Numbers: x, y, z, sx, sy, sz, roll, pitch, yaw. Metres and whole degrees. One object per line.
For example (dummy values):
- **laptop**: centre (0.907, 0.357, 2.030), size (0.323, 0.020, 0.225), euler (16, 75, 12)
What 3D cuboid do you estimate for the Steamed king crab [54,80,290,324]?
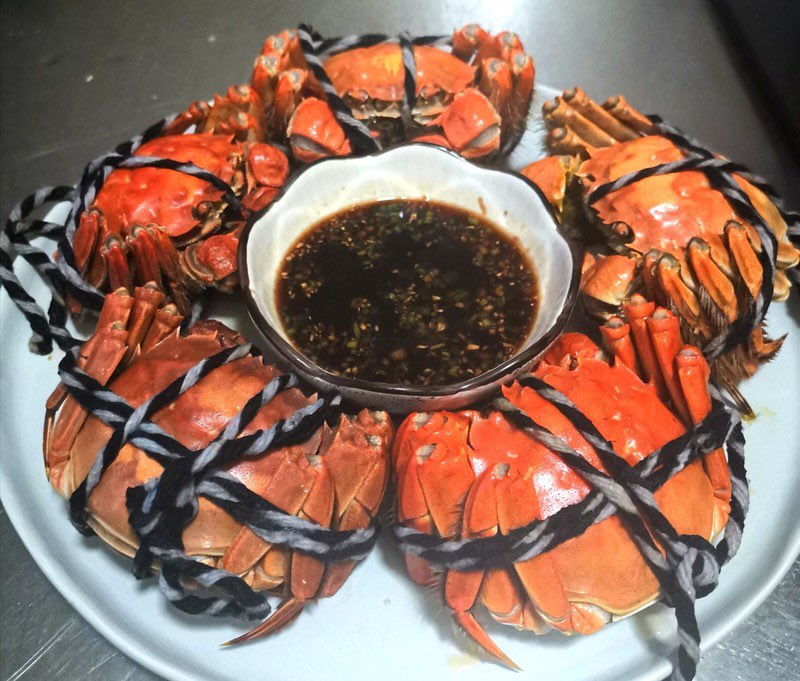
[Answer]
- **Steamed king crab**: centre (-0.708, -0.473, 2.921), size (0.551, 0.375, 0.876), euler (11, 53, 14)

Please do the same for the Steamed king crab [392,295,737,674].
- **Steamed king crab**: centre (0.485, 0.429, 2.345), size (0.981, 0.331, 0.851), euler (-31, 75, -10)

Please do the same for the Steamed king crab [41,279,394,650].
- **Steamed king crab**: centre (-0.528, 0.338, 2.384), size (0.966, 0.375, 0.737), euler (31, 74, 9)
